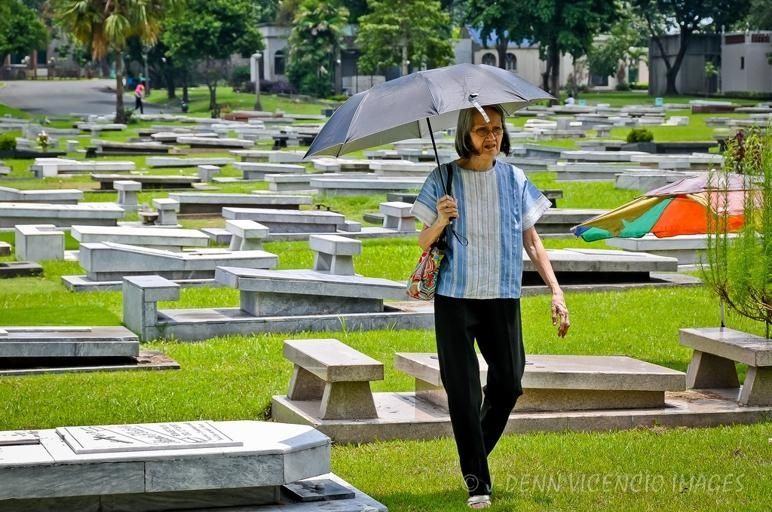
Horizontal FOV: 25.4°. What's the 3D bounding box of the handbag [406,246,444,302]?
[{"bbox_3d":[1.344,0.569,58.234,1.197,1.765,0.355,0,8,1],"label":"handbag"}]
